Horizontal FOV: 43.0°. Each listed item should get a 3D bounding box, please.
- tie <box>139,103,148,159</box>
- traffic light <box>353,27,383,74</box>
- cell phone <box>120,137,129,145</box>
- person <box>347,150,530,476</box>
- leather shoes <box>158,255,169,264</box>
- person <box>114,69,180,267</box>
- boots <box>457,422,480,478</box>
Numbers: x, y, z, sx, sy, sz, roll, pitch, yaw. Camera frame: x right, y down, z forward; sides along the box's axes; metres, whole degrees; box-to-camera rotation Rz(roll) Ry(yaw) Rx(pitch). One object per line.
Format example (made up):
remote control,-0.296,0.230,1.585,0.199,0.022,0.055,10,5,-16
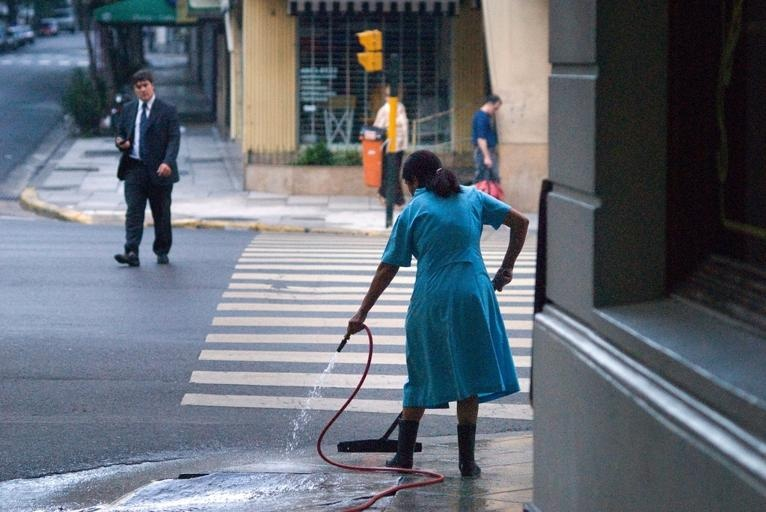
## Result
tie,-3.218,-1.728,13.059,0.109,0.740,0.135,2,9,5
traffic light,-0.263,-3.957,18.331,0.446,0.742,0.728,1,10,-4
cell phone,-3.476,-1.566,12.975,0.098,0.073,0.176,5,11,19
person,0.400,0.405,6.690,1.092,2.241,0.708,2,9,4
leather shoes,-3.046,0.037,13.435,0.148,0.168,0.103,0,2,3
person,-3.220,-1.205,13.176,0.856,2.647,0.876,6,10,29
boots,0.591,1.345,6.701,0.135,0.359,0.342,-2,-10,13
